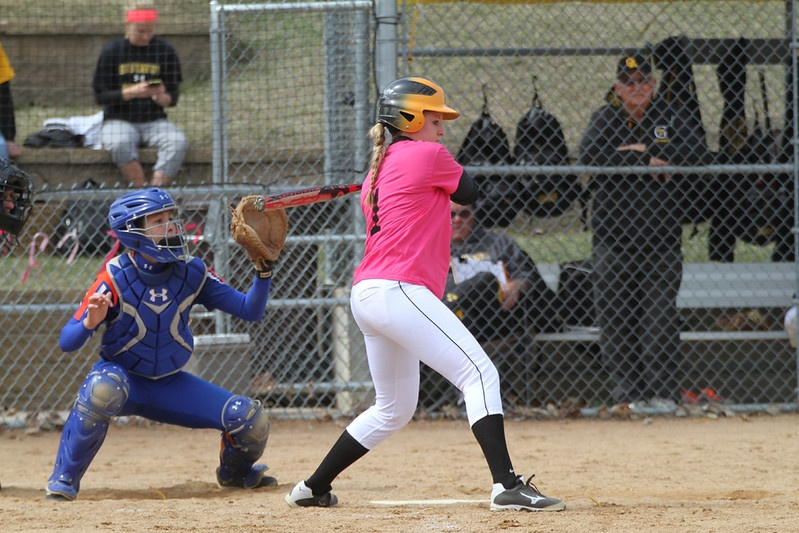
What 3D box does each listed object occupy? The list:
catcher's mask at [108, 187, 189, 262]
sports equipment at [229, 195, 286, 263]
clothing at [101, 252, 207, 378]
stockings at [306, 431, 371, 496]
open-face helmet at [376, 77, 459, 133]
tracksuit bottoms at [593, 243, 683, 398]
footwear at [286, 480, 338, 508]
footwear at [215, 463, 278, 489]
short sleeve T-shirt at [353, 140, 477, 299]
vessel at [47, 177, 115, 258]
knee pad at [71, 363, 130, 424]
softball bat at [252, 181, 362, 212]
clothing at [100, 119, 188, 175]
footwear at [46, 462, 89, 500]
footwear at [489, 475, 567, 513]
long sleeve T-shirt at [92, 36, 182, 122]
[{"bbox_3d":[-1.789,-0.312,10.092,0.479,0.523,0.539,-13,8,-38],"label":"catcher's mask"},{"bbox_3d":[-0.972,-0.256,9.813,0.372,0.469,0.229,4,3,-28],"label":"sports equipment"},{"bbox_3d":[-1.758,0.328,10.008,0.837,0.945,0.493,5,8,-19],"label":"clothing"},{"bbox_3d":[-0.482,1.473,9.878,0.164,0.493,0.513,29,-25,17],"label":"stockings"},{"bbox_3d":[0.121,-1.116,9.576,0.503,0.310,0.315,-2,4,-4],"label":"open-face helmet"},{"bbox_3d":[1.941,0.465,11.519,0.695,1.292,0.208,0,11,8],"label":"tracksuit bottoms"},{"bbox_3d":[-0.616,1.587,9.830,0.402,0.199,0.140,2,-1,-6],"label":"footwear"},{"bbox_3d":[-1.110,1.514,10.342,0.428,0.193,0.158,-1,4,-6],"label":"footwear"},{"bbox_3d":[0.047,-0.300,9.782,0.714,1.074,0.853,15,-23,-37],"label":"short sleeve T-shirt"},{"bbox_3d":[-2.670,-0.567,12.135,0.542,0.737,0.261,-7,45,0],"label":"vessel"},{"bbox_3d":[-2.049,0.879,9.928,0.293,0.412,0.172,44,12,4],"label":"knee pad"},{"bbox_3d":[-0.697,-0.551,10.679,0.881,0.125,0.170,-9,42,-19],"label":"softball bat"},{"bbox_3d":[-2.012,-1.009,11.439,0.394,0.189,0.507,3,-29,-9],"label":"clothing"},{"bbox_3d":[-2.322,1.515,9.894,0.280,0.234,0.172,-5,11,-16],"label":"footwear"},{"bbox_3d":[0.853,1.554,9.601,0.550,0.269,0.206,2,-7,-4],"label":"footwear"},{"bbox_3d":[-2.106,-1.560,11.509,0.912,0.937,0.536,-2,10,-13],"label":"long sleeve T-shirt"}]
